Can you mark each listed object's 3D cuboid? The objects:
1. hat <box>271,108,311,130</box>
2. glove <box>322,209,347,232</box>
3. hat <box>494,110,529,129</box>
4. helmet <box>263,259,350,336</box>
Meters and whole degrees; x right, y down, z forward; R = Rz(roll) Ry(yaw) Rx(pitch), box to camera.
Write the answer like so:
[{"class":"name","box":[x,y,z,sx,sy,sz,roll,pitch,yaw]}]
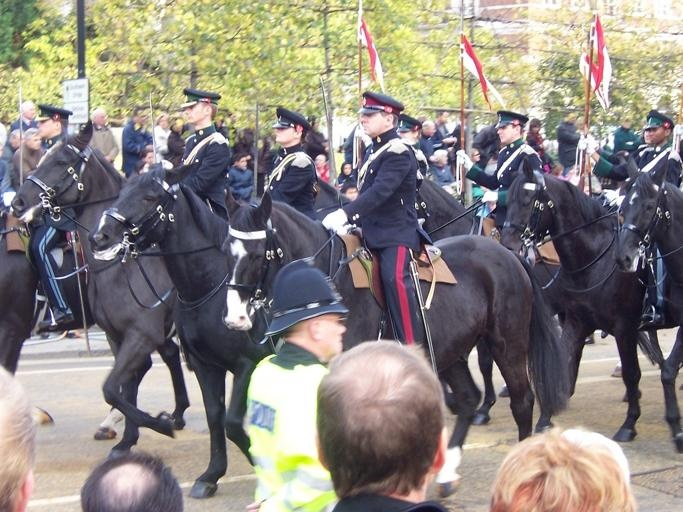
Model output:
[{"class":"hat","box":[-0.416,-1.223,6.926,0.245,0.112,0.219,5,0,-11]},{"class":"glove","box":[-0.044,-0.268,5.973,0.193,0.190,0.218,0,6,-1]},{"class":"hat","box":[2.098,-1.687,9.580,0.331,0.139,0.285,-4,2,-15]},{"class":"helmet","box":[-0.169,0.161,3.431,0.320,0.213,0.305,-15,9,-18]}]
